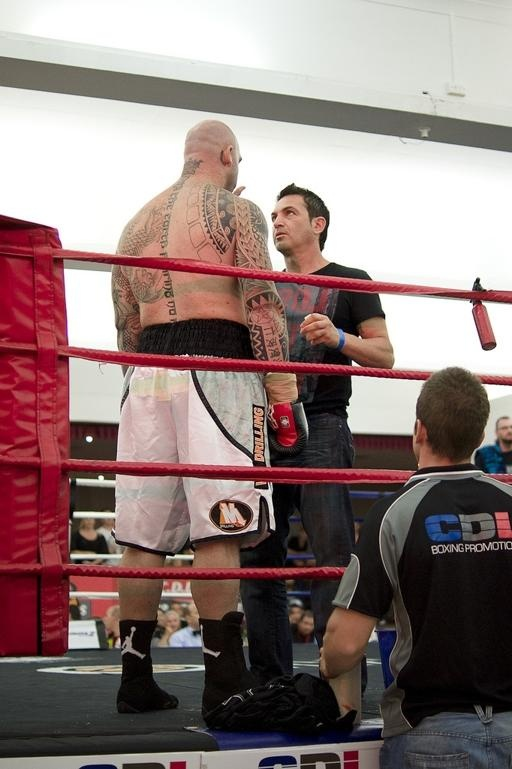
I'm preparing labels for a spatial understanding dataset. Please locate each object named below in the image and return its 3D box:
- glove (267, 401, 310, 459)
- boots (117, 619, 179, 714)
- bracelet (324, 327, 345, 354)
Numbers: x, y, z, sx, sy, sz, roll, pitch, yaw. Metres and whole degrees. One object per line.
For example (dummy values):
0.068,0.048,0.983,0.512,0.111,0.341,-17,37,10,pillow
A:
0.076,0.102,1.910,0.103,0.124,0.137,-1,-7,-3,glove
-0.250,0.605,1.746,0.069,0.200,0.129,-12,-9,28,boots
0.195,-0.113,2.022,0.023,0.044,0.051,7,-41,11,bracelet
